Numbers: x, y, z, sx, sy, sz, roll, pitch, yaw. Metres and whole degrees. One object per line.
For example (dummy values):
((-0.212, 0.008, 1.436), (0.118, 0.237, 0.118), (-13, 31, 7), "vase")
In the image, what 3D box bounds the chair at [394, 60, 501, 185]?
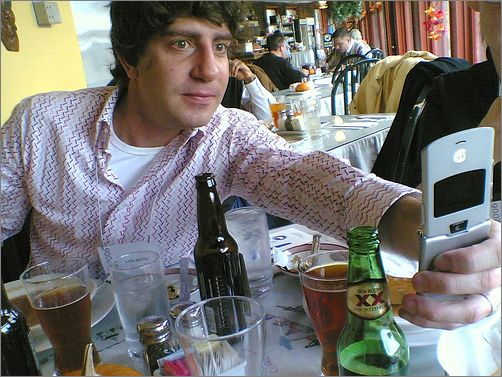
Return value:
((0.727, -0.206, 1.481), (0.128, 0.521, 0.279), (-24, 33, -38), "chair")

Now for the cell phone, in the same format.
((0.300, 0.018, 0.561), (0.145, 0.207, 0.030), (-12, 17, -14), "cell phone")

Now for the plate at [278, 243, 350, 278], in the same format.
((0.119, 0.168, 0.969), (0.108, 0.025, 0.106), (-6, 10, -28), "plate")

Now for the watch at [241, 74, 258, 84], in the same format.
((-0.021, -0.934, 3.393), (0.088, 0.063, 0.088), (11, 36, 36), "watch")
